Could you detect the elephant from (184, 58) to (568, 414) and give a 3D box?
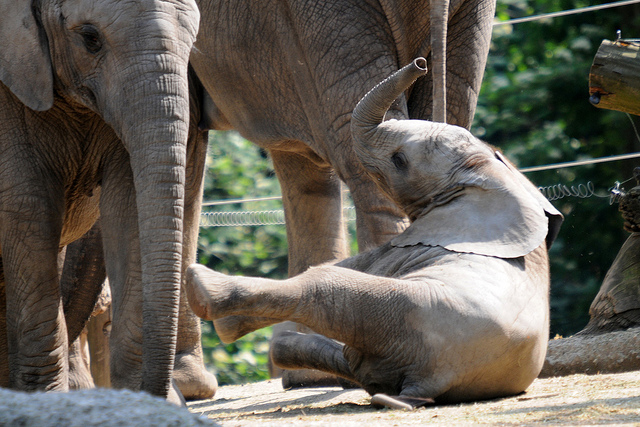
[{"bbox_3d":[0.377,0.172,9.150,2.152,1.696,0.832,5,-9,-12],"label":"elephant"}]
